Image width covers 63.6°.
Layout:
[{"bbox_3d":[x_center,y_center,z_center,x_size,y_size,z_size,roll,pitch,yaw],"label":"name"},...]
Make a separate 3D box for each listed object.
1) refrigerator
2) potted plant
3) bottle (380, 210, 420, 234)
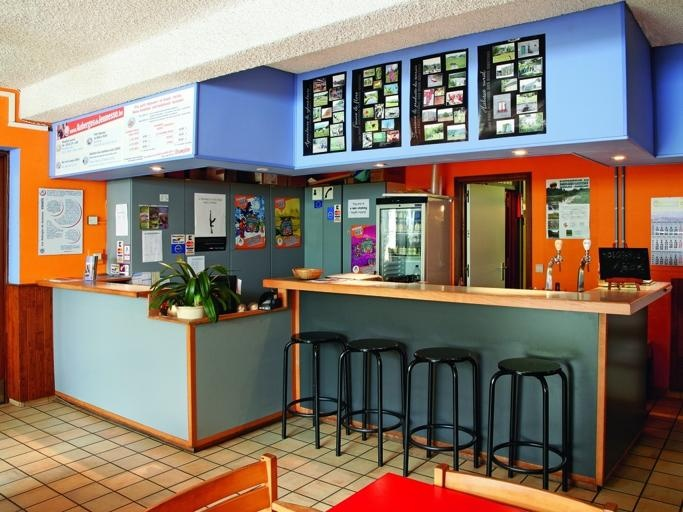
[{"bbox_3d":[0.862,-0.195,6.650,0.607,1.115,0.849,4,9,32],"label":"refrigerator"},{"bbox_3d":[-1.228,0.307,4.604,0.679,0.387,0.627,1,-2,-18],"label":"potted plant"},{"bbox_3d":[0.688,-0.401,6.412,0.471,0.275,0.078,1,8,15],"label":"bottle"}]
